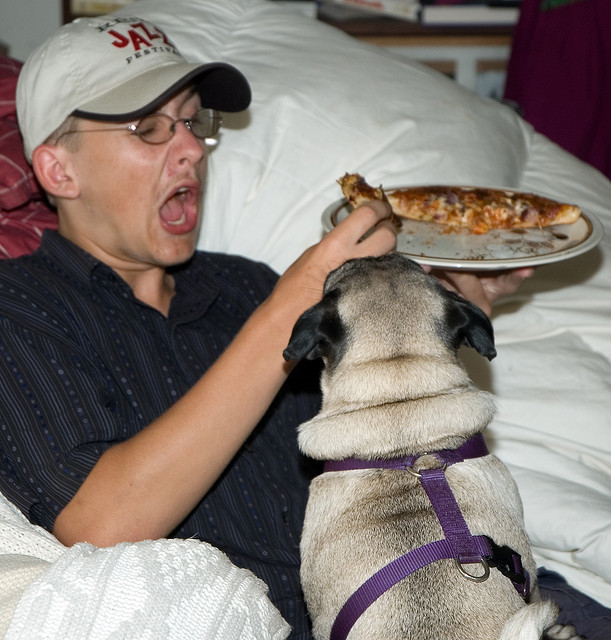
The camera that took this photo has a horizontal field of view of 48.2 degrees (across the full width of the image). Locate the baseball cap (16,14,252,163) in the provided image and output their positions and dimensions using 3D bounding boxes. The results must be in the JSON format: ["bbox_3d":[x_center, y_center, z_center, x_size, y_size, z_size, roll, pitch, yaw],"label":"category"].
[{"bbox_3d":[-0.492,-0.648,1.789,0.570,0.235,0.424,5,26,46],"label":"baseball cap"}]

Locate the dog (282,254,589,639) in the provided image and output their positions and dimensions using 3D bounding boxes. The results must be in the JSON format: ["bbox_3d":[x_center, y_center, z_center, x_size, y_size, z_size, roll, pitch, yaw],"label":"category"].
[{"bbox_3d":[0.155,0.213,1.441,0.515,0.539,0.730,-9,70,1],"label":"dog"}]
